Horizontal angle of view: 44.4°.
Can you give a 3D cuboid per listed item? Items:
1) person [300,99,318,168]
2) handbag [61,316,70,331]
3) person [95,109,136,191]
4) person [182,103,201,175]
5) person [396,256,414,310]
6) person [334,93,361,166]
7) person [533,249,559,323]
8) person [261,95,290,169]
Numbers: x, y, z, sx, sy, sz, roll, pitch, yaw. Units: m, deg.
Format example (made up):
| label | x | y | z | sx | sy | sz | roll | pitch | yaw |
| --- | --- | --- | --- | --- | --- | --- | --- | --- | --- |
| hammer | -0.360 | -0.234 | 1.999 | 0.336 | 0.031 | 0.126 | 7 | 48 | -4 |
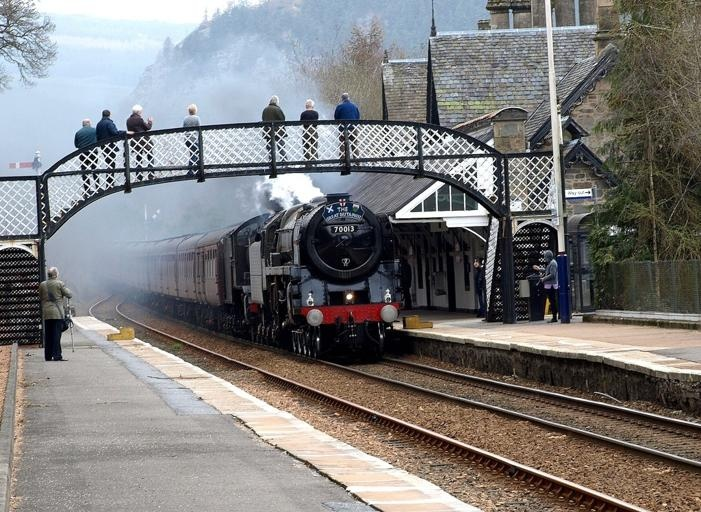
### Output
| label | x | y | z | sx | sy | sz | roll | pitch | yaw |
| --- | --- | --- | --- | --- | --- | --- | --- | --- | --- |
| person | -1.081 | -3.269 | 22.578 | 0.464 | 1.295 | 0.945 | -2 | 1 | -2 |
| handbag | -6.495 | 1.518 | 19.476 | 0.102 | 0.318 | 0.218 | 10 | 6 | 20 |
| person | -6.196 | -2.761 | 22.081 | 0.669 | 1.721 | 0.932 | -2 | 1 | -17 |
| person | -4.253 | -3.169 | 22.879 | 0.407 | 1.562 | 2.265 | -2 | 1 | -11 |
| person | 1.851 | 0.957 | 29.065 | 0.406 | 2.249 | 0.554 | 0 | -7 | -9 |
| person | -0.097 | -3.493 | 22.719 | 0.552 | 1.793 | 0.505 | -6 | 28 | -11 |
| person | 5.312 | 0.779 | 23.186 | 0.592 | 1.927 | 1.088 | -1 | 1 | 13 |
| person | -2.028 | -3.203 | 22.680 | 0.632 | 1.589 | 1.075 | -2 | 1 | -7 |
